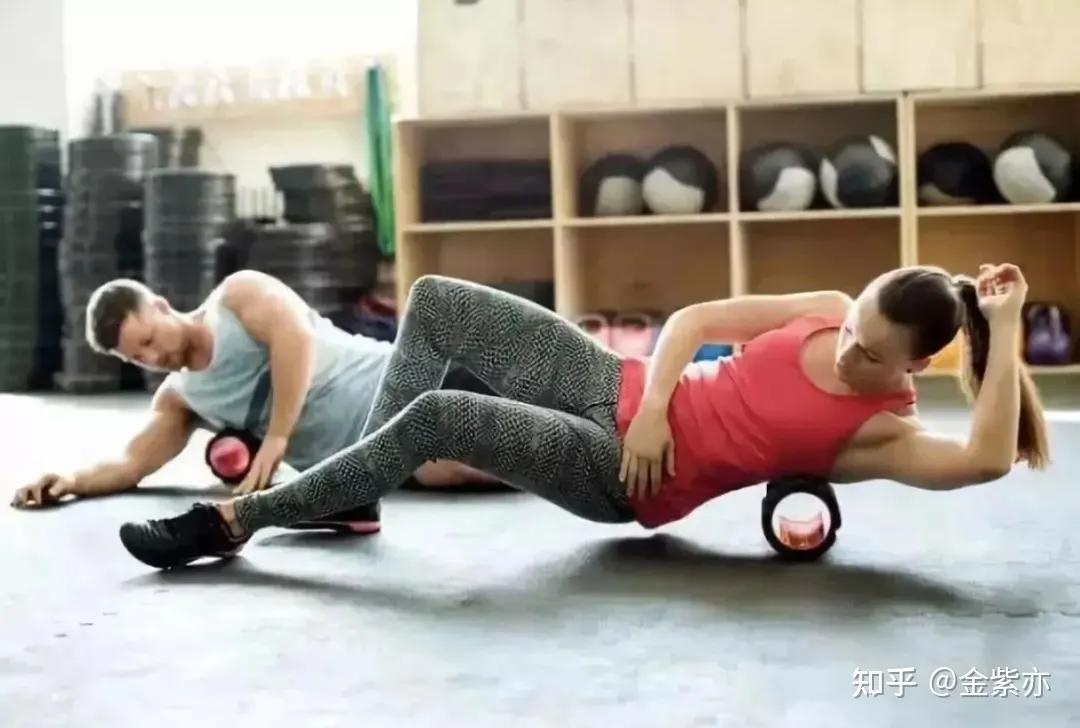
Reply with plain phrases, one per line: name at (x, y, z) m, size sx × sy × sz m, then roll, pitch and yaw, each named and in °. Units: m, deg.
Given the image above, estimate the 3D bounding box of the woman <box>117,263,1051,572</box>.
woman at (0.053, 0.110, 2.502) m, size 1.909 × 0.643 × 0.513 m, roll 0°, pitch 13°, yaw 5°

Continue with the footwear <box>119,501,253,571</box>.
footwear at (-0.685, 0.362, 2.419) m, size 0.308 × 0.105 × 0.138 m, roll -3°, pitch -34°, yaw 2°

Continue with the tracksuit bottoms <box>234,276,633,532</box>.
tracksuit bottoms at (-0.199, 0.111, 2.486) m, size 1.096 × 0.553 × 0.353 m, roll 0°, pitch -14°, yaw -32°

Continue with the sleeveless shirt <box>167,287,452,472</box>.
sleeveless shirt at (-0.661, 0.147, 3.270) m, size 0.835 × 0.459 × 0.615 m, roll 4°, pitch -14°, yaw -14°

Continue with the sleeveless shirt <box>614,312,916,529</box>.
sleeveless shirt at (0.432, 0.131, 2.399) m, size 0.593 × 0.335 × 0.227 m, roll -7°, pitch -47°, yaw 17°

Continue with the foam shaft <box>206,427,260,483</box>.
foam shaft at (-0.747, 0.228, 2.891) m, size 0.130 × 0.122 × 0.077 m, roll -12°, pitch 0°, yaw -8°

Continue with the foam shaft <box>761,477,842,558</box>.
foam shaft at (0.522, 0.334, 2.463) m, size 0.166 × 0.180 × 0.176 m, roll -4°, pitch -9°, yaw 5°

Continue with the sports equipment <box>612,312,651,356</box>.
sports equipment at (0.343, -0.108, 4.373) m, size 0.157 × 0.054 × 0.163 m, roll -5°, pitch 18°, yaw -8°

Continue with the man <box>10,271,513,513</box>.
man at (-0.588, 0.114, 3.133) m, size 1.494 × 0.577 × 0.796 m, roll -4°, pitch -25°, yaw -28°
